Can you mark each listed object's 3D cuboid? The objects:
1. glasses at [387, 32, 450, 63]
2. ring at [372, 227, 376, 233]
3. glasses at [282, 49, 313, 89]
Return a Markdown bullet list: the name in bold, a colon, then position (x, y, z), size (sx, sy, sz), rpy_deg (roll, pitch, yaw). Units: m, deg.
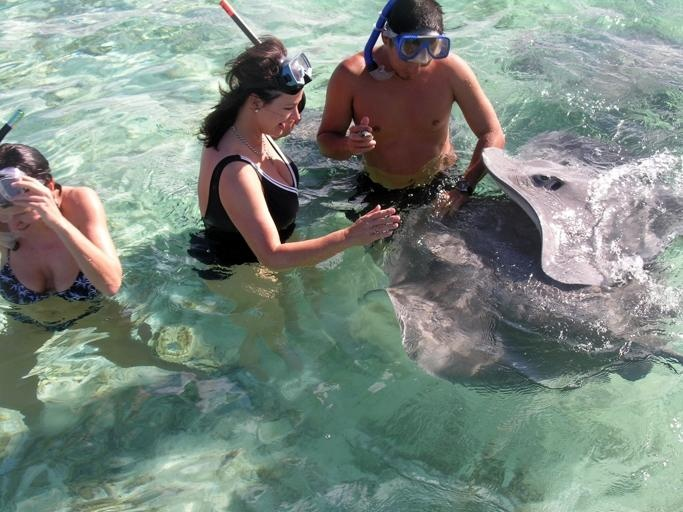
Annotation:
- **glasses**: position (0.541, -1.464, 4.518), size (0.277, 0.099, 0.302), rpy_deg (-6, 30, -18)
- **ring**: position (0.192, -0.155, 3.951), size (0.029, 0.032, 0.018), rpy_deg (-2, 42, 0)
- **glasses**: position (-0.294, -1.159, 4.093), size (0.167, 0.166, 0.260), rpy_deg (1, 38, 4)
